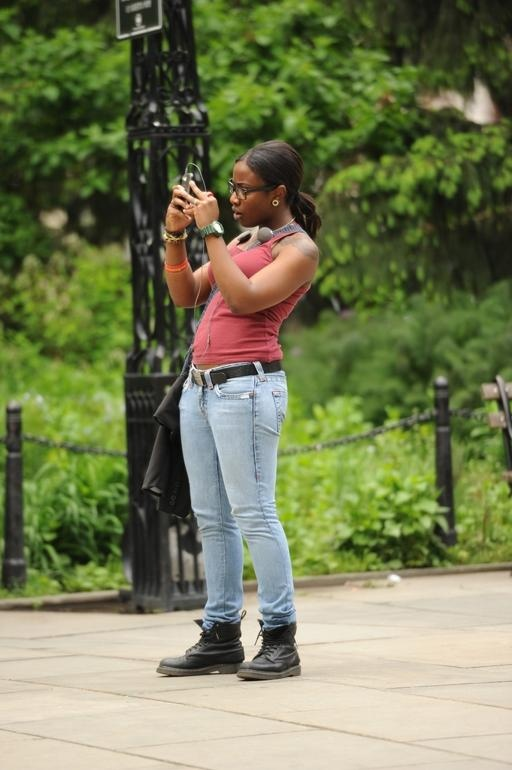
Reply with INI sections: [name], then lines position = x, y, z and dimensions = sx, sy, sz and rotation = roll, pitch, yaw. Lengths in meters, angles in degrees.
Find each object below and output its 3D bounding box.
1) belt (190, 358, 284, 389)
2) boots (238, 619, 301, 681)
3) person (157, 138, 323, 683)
[belt]
position = -0.069, -0.038, 3.456
dimensions = 0.290, 0.075, 0.137
rotation = -3, -3, -2
[boots]
position = 0.043, 0.854, 3.430
dimensions = 0.115, 0.181, 0.293
rotation = -10, -14, 37
[person]
position = -0.062, 0.074, 3.558
dimensions = 0.512, 1.780, 0.604
rotation = -2, -3, -39
